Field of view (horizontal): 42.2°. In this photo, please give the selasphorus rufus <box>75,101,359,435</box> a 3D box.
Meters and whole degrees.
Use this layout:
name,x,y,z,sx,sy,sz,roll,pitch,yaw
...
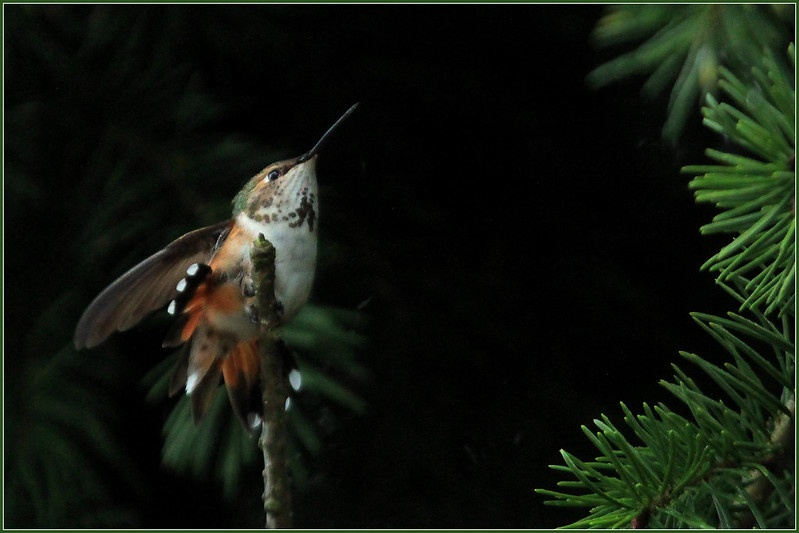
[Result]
name,x,y,z,sx,sy,sz,roll,pitch,yaw
selasphorus rufus,-0.398,0.014,2.403,0.600,0.556,0.305,-36,-105,10
